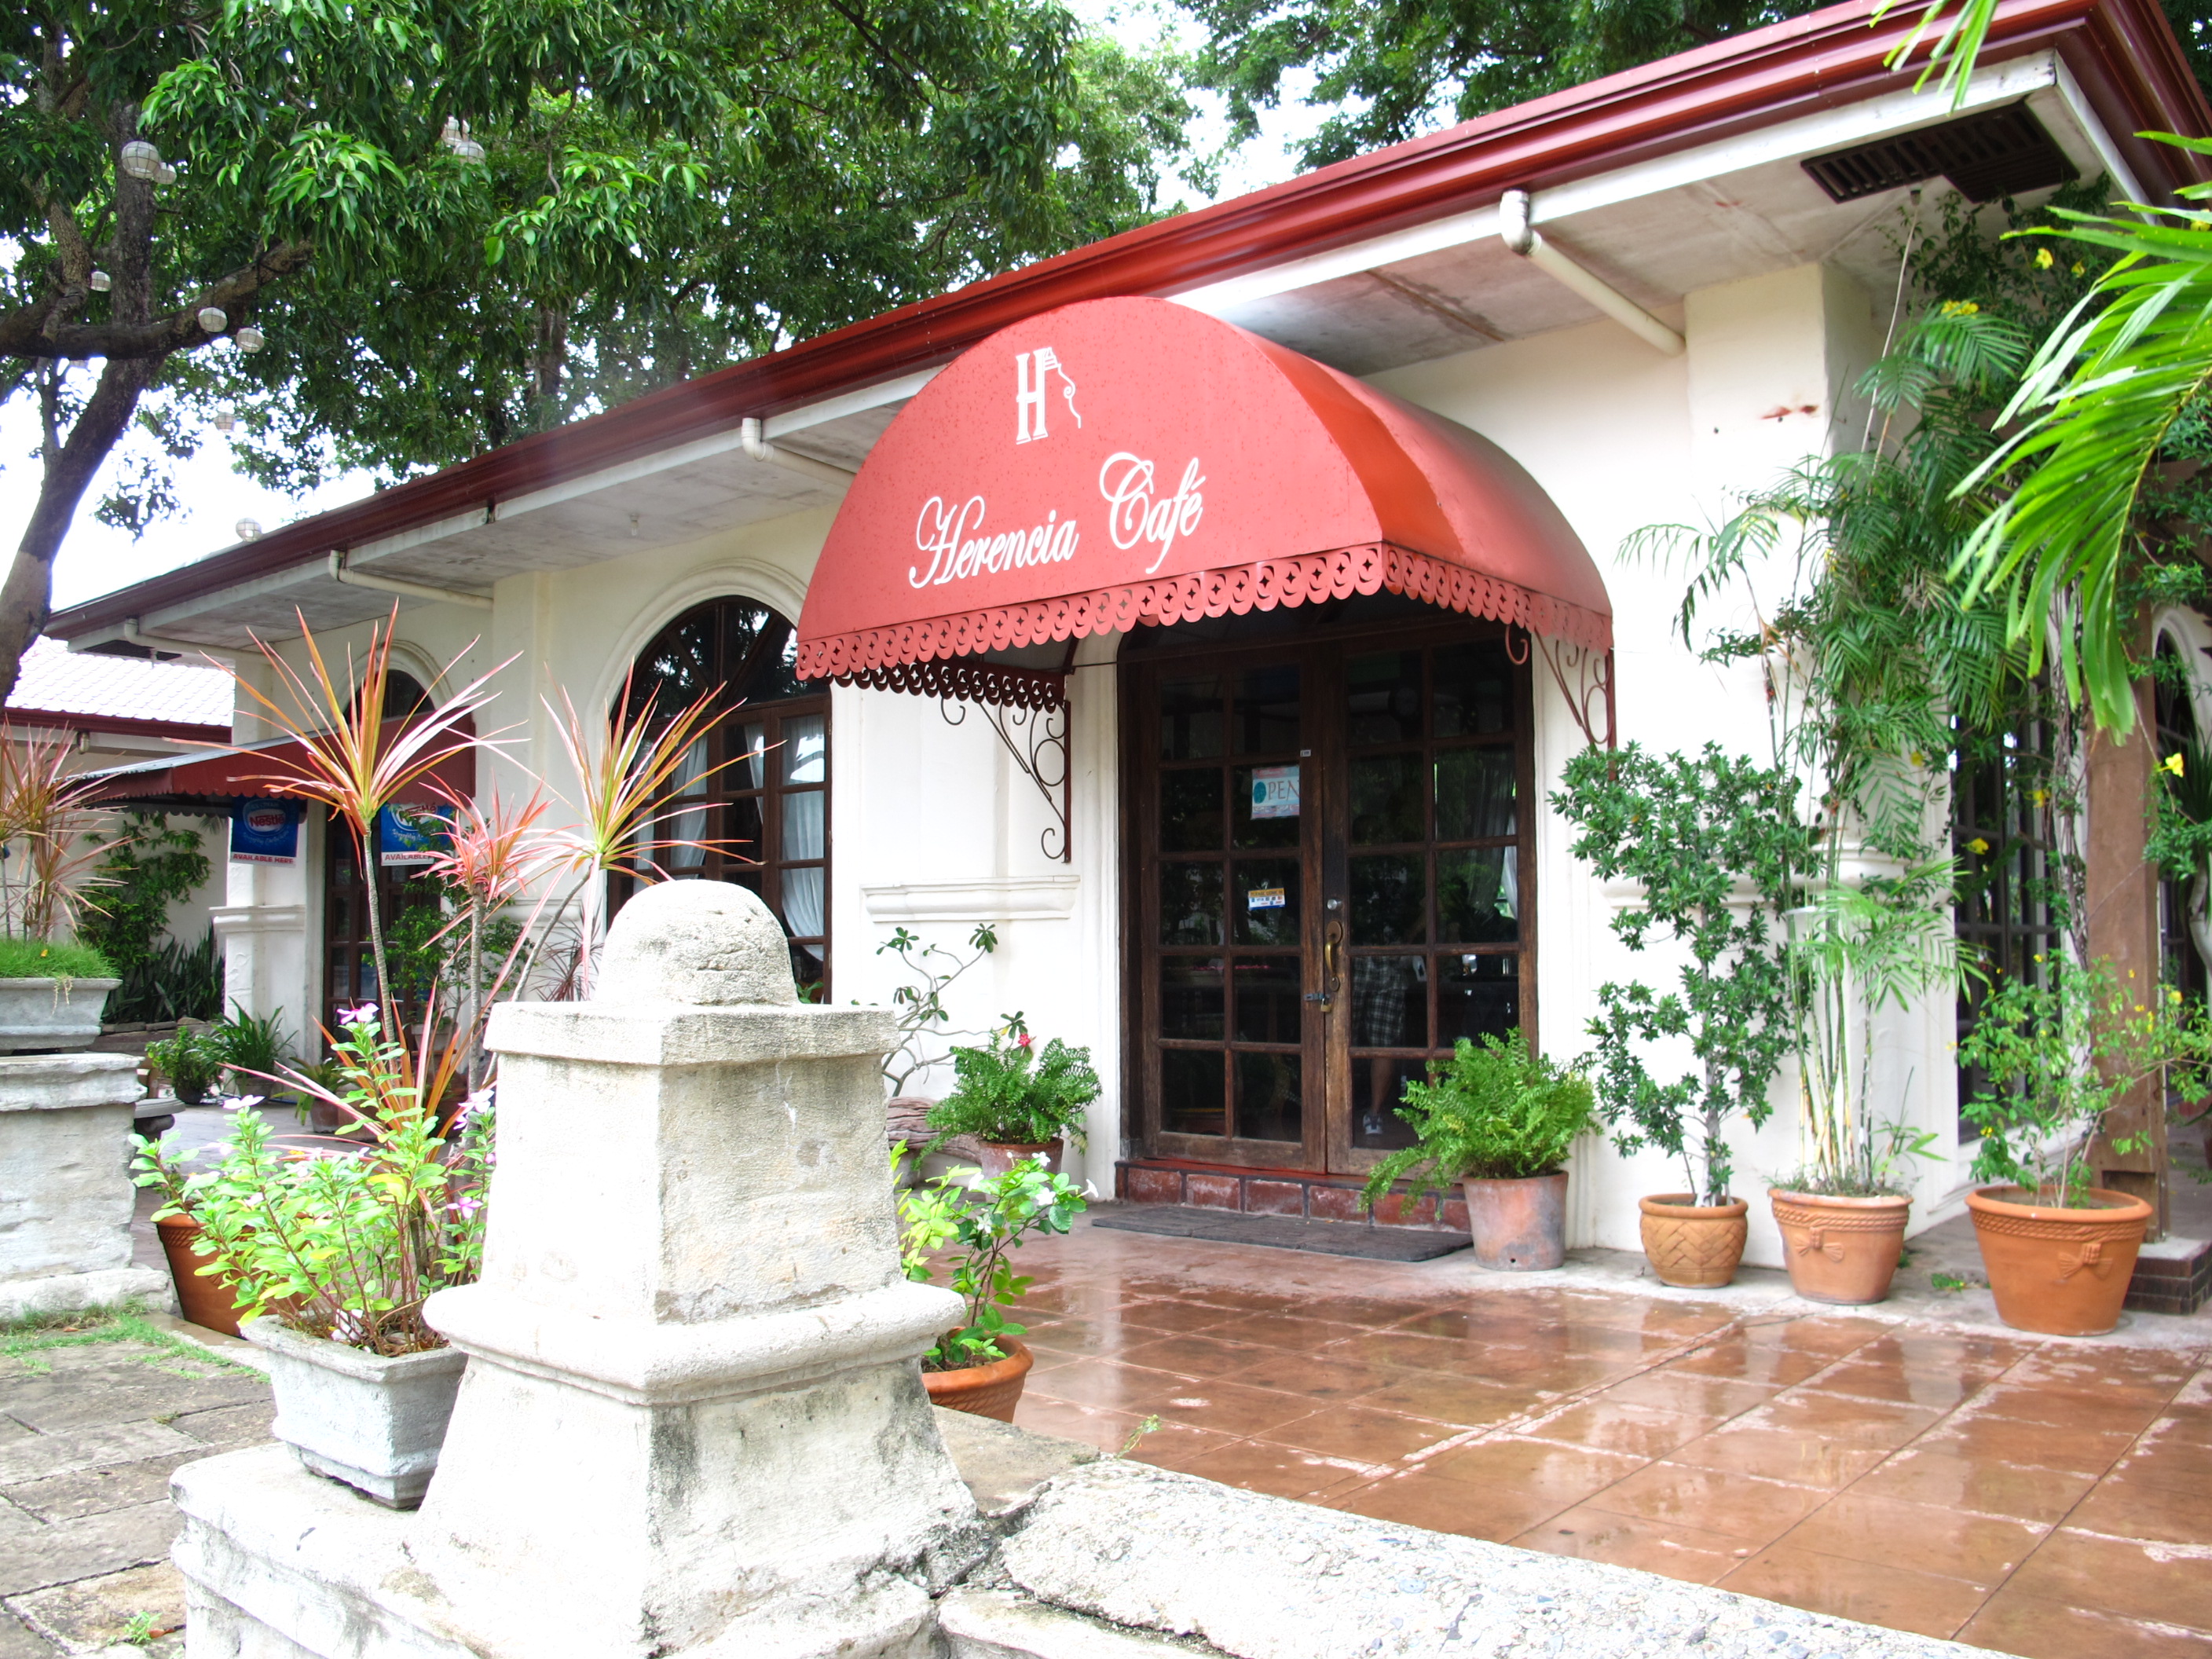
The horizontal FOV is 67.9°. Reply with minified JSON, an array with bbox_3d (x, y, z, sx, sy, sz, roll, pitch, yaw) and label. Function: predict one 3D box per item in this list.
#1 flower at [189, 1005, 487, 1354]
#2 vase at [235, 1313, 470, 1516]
[{"bbox_3d":[-1.680,0.760,3.656,0.648,0.702,0.986,1,-1,-30],"label":"flower"},{"bbox_3d":[-1.473,1.175,3.378,0.462,0.261,0.389,-1,-6,29],"label":"vase"}]
